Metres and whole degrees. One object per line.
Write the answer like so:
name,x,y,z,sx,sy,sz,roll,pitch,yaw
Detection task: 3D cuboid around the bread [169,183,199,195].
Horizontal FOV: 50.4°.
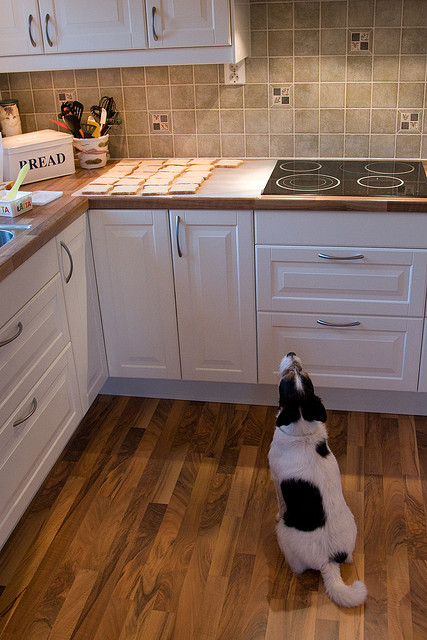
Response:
bread,-0.103,-0.477,1.641,0.095,0.021,0.098,-2,27,8

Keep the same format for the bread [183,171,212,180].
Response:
bread,-0.060,-0.594,1.838,0.071,0.018,0.076,1,26,8

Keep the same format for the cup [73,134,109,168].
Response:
cup,-0.536,-0.749,2.015,0.148,0.112,0.145,-1,47,1

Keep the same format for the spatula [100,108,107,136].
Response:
spatula,-0.476,-0.866,1.966,0.020,0.094,0.016,8,18,-6

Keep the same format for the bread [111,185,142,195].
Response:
bread,-0.315,-0.484,1.665,0.066,0.016,0.067,5,41,6

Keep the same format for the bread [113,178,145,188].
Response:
bread,-0.323,-0.543,1.770,0.068,0.018,0.078,-1,39,11

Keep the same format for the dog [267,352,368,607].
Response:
dog,0.202,0.329,1.124,0.210,0.376,0.577,-9,66,3

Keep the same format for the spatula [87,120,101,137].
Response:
spatula,-0.509,-0.830,1.975,0.056,0.070,0.065,4,17,-2

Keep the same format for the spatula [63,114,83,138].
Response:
spatula,-0.597,-0.847,1.968,0.036,0.121,0.022,-35,2,21

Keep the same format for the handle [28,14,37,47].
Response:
handle,-0.681,-1.089,1.709,0.030,0.103,0.016,-6,25,0

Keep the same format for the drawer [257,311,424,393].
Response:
drawer,0.491,0.108,1.713,0.547,0.284,0.324,4,28,11

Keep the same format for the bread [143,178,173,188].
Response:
bread,-0.212,-0.536,1.746,0.065,0.017,0.070,2,34,6

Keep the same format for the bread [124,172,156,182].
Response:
bread,-0.297,-0.597,1.862,0.079,0.020,0.080,0,31,6

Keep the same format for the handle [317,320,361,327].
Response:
handle,0.461,0.011,1.660,0.153,0.026,0.010,1,26,13

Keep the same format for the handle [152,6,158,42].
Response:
handle,-0.209,-1.057,1.620,0.014,0.102,0.025,-16,27,-22

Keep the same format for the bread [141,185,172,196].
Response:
bread,-0.206,-0.473,1.641,0.068,0.015,0.072,3,38,4

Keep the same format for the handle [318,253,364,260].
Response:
handle,0.439,-0.217,1.553,0.117,0.018,0.033,6,34,15

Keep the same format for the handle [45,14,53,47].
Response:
handle,-0.617,-1.084,1.702,0.031,0.103,0.011,9,28,29
